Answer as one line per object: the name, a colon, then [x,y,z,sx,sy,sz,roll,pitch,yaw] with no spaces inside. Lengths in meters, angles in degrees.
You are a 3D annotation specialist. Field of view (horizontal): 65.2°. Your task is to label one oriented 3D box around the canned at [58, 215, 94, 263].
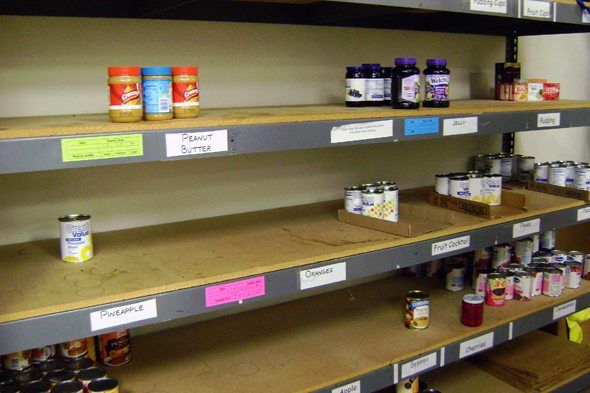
canned: [-0.847,0.162,1.780,0.136,0.173,0.102,-12,18,-20]
